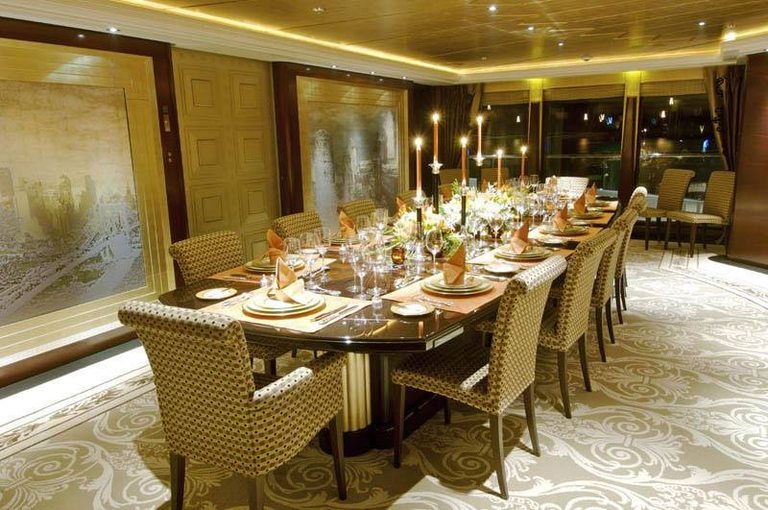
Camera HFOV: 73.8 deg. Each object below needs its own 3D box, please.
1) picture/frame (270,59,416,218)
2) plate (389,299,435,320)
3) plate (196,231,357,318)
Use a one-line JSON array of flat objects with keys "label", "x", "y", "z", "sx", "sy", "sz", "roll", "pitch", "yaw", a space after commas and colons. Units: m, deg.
[{"label": "picture/frame", "x": -0.513, "y": -1.890, "z": 8.077, "sx": 0.170, "sy": 1.951, "sz": 2.822, "roll": 39, "pitch": 33, "yaw": 26}, {"label": "plate", "x": 0.182, "y": 0.334, "z": 3.098, "sx": 0.210, "sy": 0.048, "sz": 0.230, "roll": 10, "pitch": 17, "yaw": 44}, {"label": "plate", "x": -0.566, "y": 0.202, "z": 3.139, "sx": 0.791, "sy": 0.345, "sz": 0.528, "roll": 4, "pitch": 15, "yaw": 26}]
